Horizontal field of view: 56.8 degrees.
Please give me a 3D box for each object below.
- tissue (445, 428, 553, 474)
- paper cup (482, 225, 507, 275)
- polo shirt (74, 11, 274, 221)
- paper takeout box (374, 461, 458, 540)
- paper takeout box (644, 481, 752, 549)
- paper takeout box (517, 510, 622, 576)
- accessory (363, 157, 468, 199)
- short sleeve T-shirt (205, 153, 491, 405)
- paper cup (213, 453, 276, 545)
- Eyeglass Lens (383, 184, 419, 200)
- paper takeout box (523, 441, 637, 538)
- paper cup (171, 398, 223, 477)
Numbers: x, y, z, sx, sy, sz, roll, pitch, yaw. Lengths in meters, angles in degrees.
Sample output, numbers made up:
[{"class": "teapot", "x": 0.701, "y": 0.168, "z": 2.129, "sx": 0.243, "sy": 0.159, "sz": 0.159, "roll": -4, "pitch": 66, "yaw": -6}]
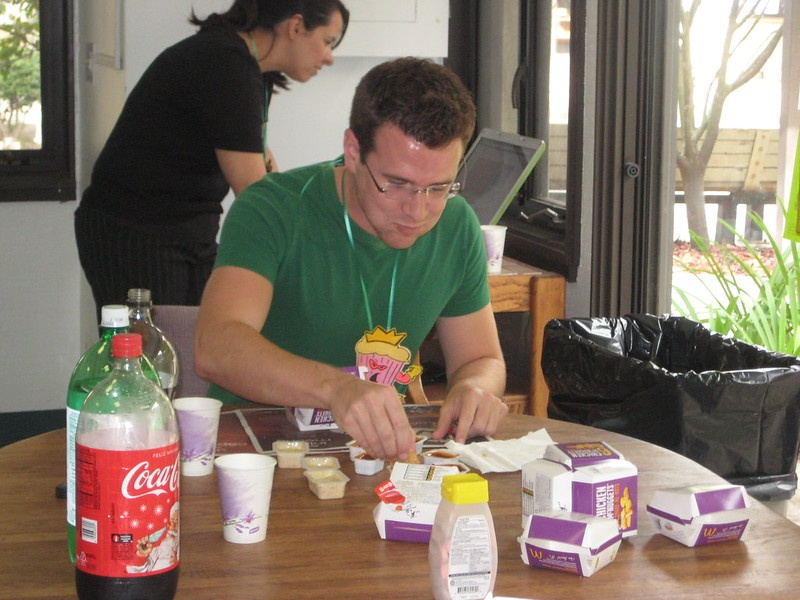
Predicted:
[{"class": "tissue", "x": 0.192, "y": 0.283, "z": 1.383, "sx": 0.115, "sy": 0.030, "sz": 0.120, "roll": -7, "pitch": 9, "yaw": -20}, {"class": "paper cup", "x": 0.333, "y": -0.164, "z": 2.585, "sx": 0.108, "sy": 0.154, "sz": 0.125, "roll": -1, "pitch": -2, "yaw": -24}, {"class": "polo shirt", "x": -0.736, "y": -0.518, "z": 2.348, "sx": 0.420, "sy": 0.682, "sz": 0.663, "roll": 13, "pitch": -3, "yaw": -34}, {"class": "paper takeout box", "x": 0.019, "y": 0.304, "z": 1.168, "sx": 0.098, "sy": 0.052, "sz": 0.133, "roll": 3, "pitch": 23, "yaw": 7}, {"class": "paper takeout box", "x": 0.459, "y": 0.296, "z": 1.115, "sx": 0.107, "sy": 0.073, "sz": 0.093, "roll": -2, "pitch": 2, "yaw": -27}, {"class": "paper takeout box", "x": 0.248, "y": 0.316, "z": 1.055, "sx": 0.101, "sy": 0.058, "sz": 0.087, "roll": 3, "pitch": 6, "yaw": 34}, {"class": "accessory", "x": 0.012, "y": -0.254, "z": 1.578, "sx": 0.186, "sy": 0.077, "sz": 0.085, "roll": 1, "pitch": 11, "yaw": -2}, {"class": "short sleeve T-shirt", "x": -0.094, "y": -0.040, "z": 1.963, "sx": 0.714, "sy": 0.373, "sz": 0.779, "roll": 1, "pitch": -35, "yaw": -10}, {"class": "paper cup", "x": -0.236, "y": 0.297, "z": 1.120, "sx": 0.098, "sy": 0.118, "sz": 0.101, "roll": -3, "pitch": 3, "yaw": 0}, {"class": "Eyeglass Lens", "x": 0.001, "y": -0.226, "z": 1.561, "sx": 0.080, "sy": 0.030, "sz": 0.014, "roll": 6, "pitch": 12, "yaw": 21}, {"class": "paper takeout box", "x": 0.282, "y": 0.295, "z": 1.148, "sx": 0.165, "sy": 0.146, "sz": 0.171, "roll": 0, "pitch": -3, "yaw": 34}, {"class": "paper cup", "x": -0.349, "y": 0.232, "z": 1.283, "sx": 0.113, "sy": 0.139, "sz": 0.116, "roll": 1, "pitch": -2, "yaw": 0}]
